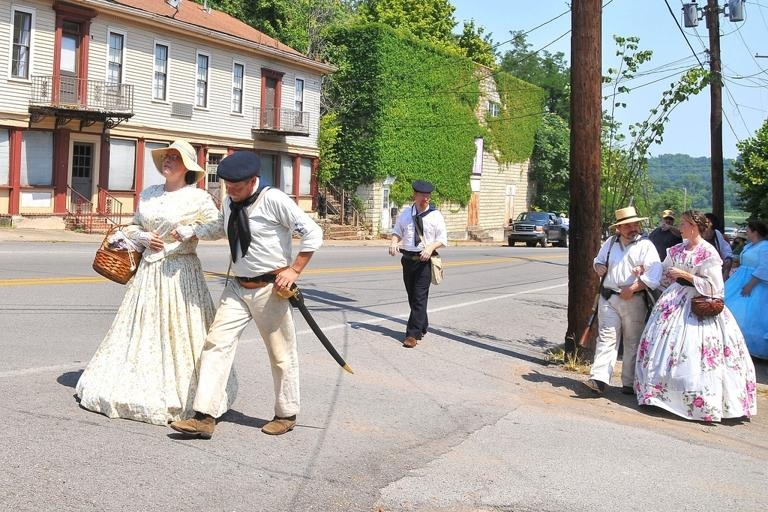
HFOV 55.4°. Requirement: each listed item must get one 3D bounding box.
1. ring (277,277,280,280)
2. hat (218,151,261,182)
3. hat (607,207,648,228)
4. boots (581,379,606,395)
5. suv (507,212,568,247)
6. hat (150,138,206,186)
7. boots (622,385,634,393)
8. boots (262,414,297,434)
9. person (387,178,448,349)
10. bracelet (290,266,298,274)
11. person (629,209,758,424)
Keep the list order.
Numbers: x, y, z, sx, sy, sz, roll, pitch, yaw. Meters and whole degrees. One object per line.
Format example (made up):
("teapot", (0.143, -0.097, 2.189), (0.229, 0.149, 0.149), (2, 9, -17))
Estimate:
("ring", (-1.030, 0.211, 7.107), (0.025, 0.025, 0.007), (2, -4, 33))
("hat", (-1.438, -0.885, 7.225), (0.400, 0.303, 0.287), (-1, 7, -15))
("hat", (3.067, -0.496, 9.280), (0.323, 0.134, 0.351), (-12, -2, -10))
("boots", (2.611, 1.613, 9.254), (0.331, 0.141, 0.155), (17, 39, 35))
("suv", (9.070, -1.561, 42.374), (1.921, 1.233, 3.569), (0, -1, 28))
("hat", (-2.089, -1.054, 7.842), (0.496, 0.545, 0.292), (19, 47, 6))
("boots", (3.180, 1.732, 9.536), (0.103, 0.077, 0.088), (-2, -1, 38))
("boots", (-1.060, 1.725, 7.493), (0.137, 0.151, 0.344), (7, -3, 40))
("person", (0.534, 0.070, 11.582), (0.867, 2.512, 1.064), (1, 6, 1))
("bracelet", (-0.885, 0.138, 7.175), (0.055, 0.019, 0.056), (44, -3, 1))
("person", (3.800, 0.719, 8.862), (1.332, 2.506, 0.570), (3, 7, 18))
